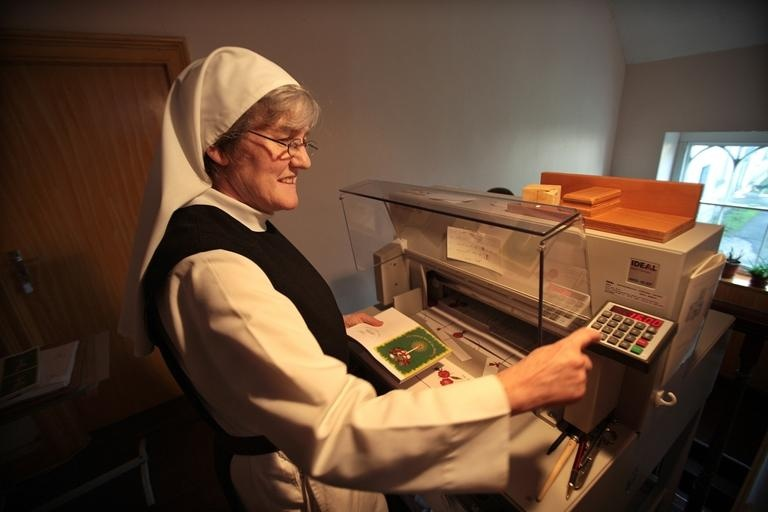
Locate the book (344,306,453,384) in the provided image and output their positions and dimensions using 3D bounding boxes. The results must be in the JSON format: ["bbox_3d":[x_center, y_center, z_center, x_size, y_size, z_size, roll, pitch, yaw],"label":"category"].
[{"bbox_3d":[0.087,0.457,2.468,0.297,0.045,0.434,-22,39,-29],"label":"book"}]

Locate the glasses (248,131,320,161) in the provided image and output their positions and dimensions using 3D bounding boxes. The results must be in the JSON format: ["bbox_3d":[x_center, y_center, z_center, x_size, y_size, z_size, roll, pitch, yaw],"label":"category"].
[{"bbox_3d":[-0.448,-0.459,2.066,0.159,0.047,0.153,21,10,9],"label":"glasses"}]
